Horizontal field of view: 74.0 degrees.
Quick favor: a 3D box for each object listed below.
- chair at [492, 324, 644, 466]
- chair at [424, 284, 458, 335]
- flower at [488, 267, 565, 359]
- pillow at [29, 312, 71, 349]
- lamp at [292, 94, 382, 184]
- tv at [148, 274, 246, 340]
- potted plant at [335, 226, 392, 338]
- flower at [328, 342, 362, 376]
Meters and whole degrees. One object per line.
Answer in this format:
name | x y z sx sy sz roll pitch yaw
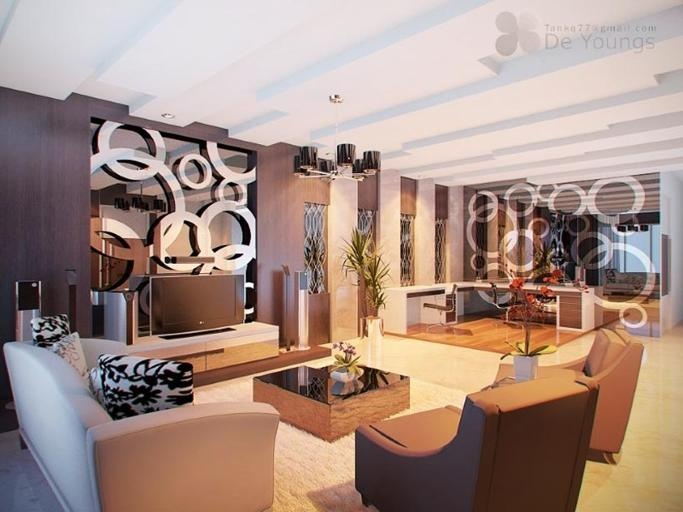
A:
chair | 1.946 1.187 4.086 1.108 1.024 0.861 3 -2 18
chair | 2.045 0.968 9.220 0.559 0.919 1.734 -1 -1 16
flower | 2.245 0.771 5.446 0.764 0.941 0.686 -9 10 -36
pillow | -2.304 0.608 3.636 0.289 0.295 0.116 12 -45 -43
lamp | -0.043 -1.349 5.686 0.880 0.829 0.884 1 0 44
tv | -1.782 0.588 5.773 1.205 0.744 0.103 -1 2 -35
potted plant | 0.453 0.465 7.934 0.749 1.989 0.876 -9 5 -25
flower | 0.077 1.053 4.526 0.268 0.288 0.333 14 -7 26
